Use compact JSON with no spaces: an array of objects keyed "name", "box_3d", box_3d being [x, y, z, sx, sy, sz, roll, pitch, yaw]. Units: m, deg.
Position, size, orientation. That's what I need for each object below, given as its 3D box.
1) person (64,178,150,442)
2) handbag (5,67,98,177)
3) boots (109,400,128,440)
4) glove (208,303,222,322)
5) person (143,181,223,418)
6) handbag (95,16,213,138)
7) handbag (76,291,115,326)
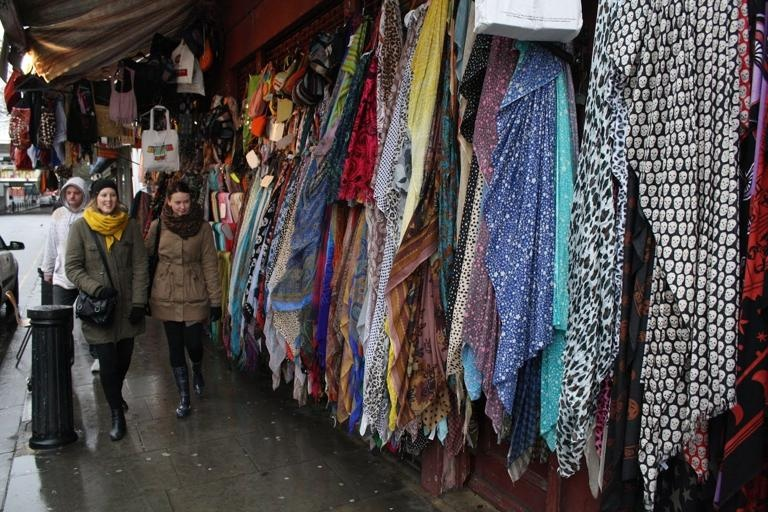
[{"name":"person","box_3d":[-2.289,0.428,5.695,0.644,2.104,0.539,-5,11,-28]},{"name":"handbag","box_3d":[-4.288,-1.737,8.815,1.058,1.248,1.677,-6,12,-29]},{"name":"boots","box_3d":[-2.234,1.365,5.708,0.142,0.263,0.254,-4,11,-23]},{"name":"glove","box_3d":[-1.528,0.509,6.219,0.102,0.164,0.053,3,2,14]},{"name":"person","box_3d":[-1.782,0.375,6.120,0.628,2.041,0.488,-4,10,-21]},{"name":"handbag","box_3d":[-2.732,-2.207,8.322,1.383,1.090,0.617,-34,45,-10]},{"name":"handbag","box_3d":[-2.328,0.421,5.523,0.195,0.224,0.115,12,-16,5]}]
